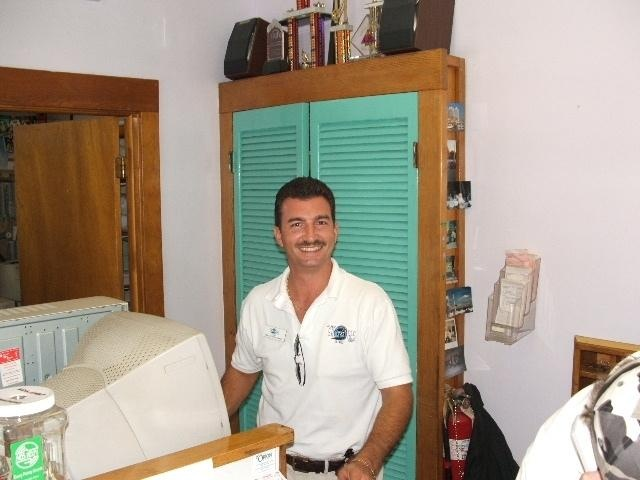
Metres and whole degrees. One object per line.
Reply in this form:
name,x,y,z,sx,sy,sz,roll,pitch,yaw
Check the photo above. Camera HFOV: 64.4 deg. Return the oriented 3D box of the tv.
tv,-0.541,0.413,1.488,0.422,0.441,0.413,-1,0,-35
